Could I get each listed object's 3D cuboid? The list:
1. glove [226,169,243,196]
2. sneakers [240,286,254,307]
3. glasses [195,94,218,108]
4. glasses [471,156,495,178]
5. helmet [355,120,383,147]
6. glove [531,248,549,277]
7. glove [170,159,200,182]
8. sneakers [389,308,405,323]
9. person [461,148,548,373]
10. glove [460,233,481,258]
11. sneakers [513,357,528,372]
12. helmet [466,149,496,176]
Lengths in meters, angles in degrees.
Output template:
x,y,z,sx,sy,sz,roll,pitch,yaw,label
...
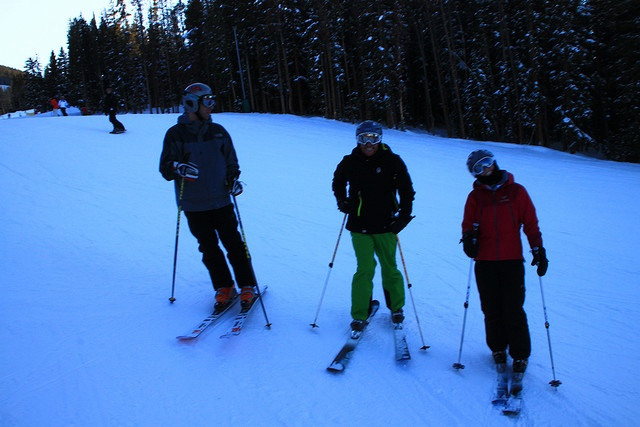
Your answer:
x,y,z,sx,sy,sz,roll,pitch,yaw,label
-1.352,-0.481,8.201,0.170,0.478,0.230,2,-3,-23,glove
-1.158,1.331,8.225,0.182,0.110,0.319,6,46,7,sneakers
-1.804,-1.764,8.138,0.259,0.171,0.216,4,12,33,glasses
2.306,-0.665,7.297,0.217,0.123,0.292,-29,-37,11,glasses
0.760,-1.248,7.905,0.327,0.356,0.407,2,19,7,helmet
3.130,0.693,7.302,0.252,0.409,0.171,-15,-8,35,glove
-2.089,-0.648,8.049,0.383,0.285,0.222,0,12,-3,glove
1.194,1.585,7.942,0.107,0.126,0.289,7,30,9,sneakers
2.574,0.658,7.307,1.171,3.037,0.658,6,13,24,person
2.101,0.458,7.446,0.255,0.311,0.343,-1,-3,-2,glove
2.806,2.122,7.257,0.190,0.133,0.169,1,-1,-4,sneakers
2.344,-0.733,7.485,0.360,0.387,0.455,-3,-6,33,helmet
